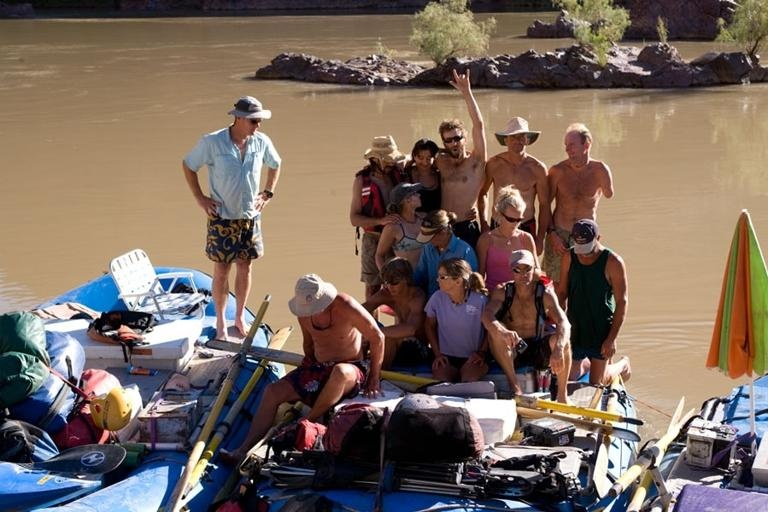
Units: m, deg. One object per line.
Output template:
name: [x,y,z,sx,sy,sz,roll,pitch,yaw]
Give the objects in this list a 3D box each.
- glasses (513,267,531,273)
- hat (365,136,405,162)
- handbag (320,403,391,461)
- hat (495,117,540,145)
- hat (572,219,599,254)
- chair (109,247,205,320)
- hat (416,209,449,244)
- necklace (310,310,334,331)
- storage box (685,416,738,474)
glasses: [2.313,0.237,19.705,0.276,0.104,0.045,0,11,11]
hat: [-0.006,-1.895,21.136,0.539,0.289,0.538,5,16,31]
handbag: [-0.433,2.788,19.089,1.203,1.096,1.233,8,7,-2]
hat: [2.449,-2.420,21.682,0.739,0.362,0.905,-3,-16,3]
hat: [3.419,-0.313,19.975,0.456,0.575,0.275,0,11,8]
chair: [-4.311,0.663,21.127,0.912,0.770,1.235,-17,42,-44]
hat: [0.883,-0.525,20.528,0.775,0.399,0.540,-20,15,-23]
necklace: [-1.029,1.095,19.536,0.257,0.171,0.347,25,-30,-1]
storage box: [5.291,2.986,19.255,0.817,0.750,0.814,2,29,6]
